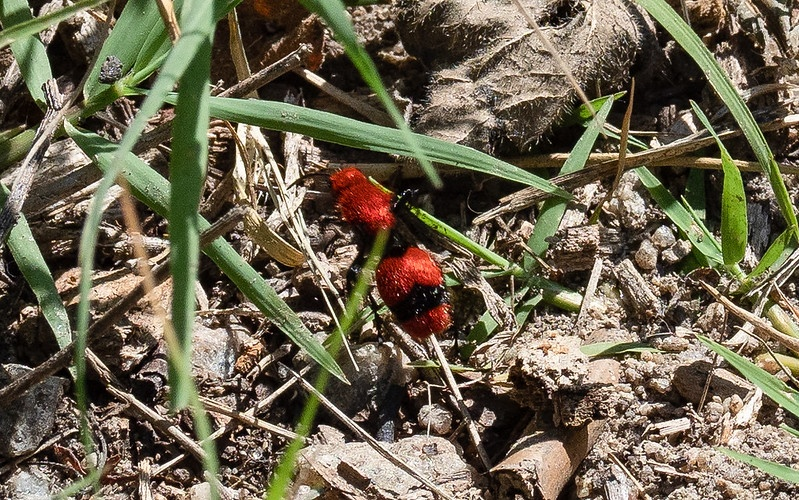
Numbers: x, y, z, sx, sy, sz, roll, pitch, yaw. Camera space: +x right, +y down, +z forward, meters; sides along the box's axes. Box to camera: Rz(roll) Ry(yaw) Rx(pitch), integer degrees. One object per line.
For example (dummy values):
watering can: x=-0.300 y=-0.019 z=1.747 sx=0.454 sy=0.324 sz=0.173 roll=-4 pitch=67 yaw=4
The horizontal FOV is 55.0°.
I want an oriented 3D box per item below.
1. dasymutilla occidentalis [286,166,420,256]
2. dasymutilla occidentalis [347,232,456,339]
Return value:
dasymutilla occidentalis: x=-0.133 y=-0.172 z=2.889 sx=0.571 sy=0.323 sz=0.214 roll=11 pitch=11 yaw=41
dasymutilla occidentalis: x=0.054 y=0.167 z=2.799 sx=0.226 sy=0.348 sz=0.348 roll=-27 pitch=41 yaw=-12
